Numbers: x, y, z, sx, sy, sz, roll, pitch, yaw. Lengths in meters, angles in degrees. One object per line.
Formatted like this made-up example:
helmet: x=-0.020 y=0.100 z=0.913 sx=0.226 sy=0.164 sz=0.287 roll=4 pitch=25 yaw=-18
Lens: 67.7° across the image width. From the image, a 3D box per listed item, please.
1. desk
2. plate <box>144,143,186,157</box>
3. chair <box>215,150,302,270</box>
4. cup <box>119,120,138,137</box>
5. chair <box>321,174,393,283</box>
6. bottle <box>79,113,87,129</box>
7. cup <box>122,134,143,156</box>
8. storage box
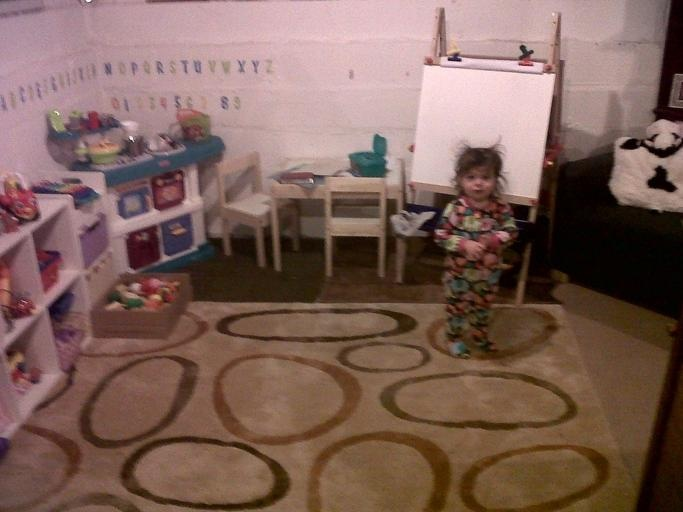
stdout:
desk: x=0.050 y=-0.356 z=3.447 sx=1.160 sy=0.767 sz=0.779 roll=0 pitch=36 yaw=2
plate: x=-1.085 y=-0.652 z=3.178 sx=0.226 sy=0.052 sz=0.114 roll=-13 pitch=25 yaw=-30
chair: x=-0.563 y=-0.326 z=3.423 sx=0.486 sy=0.712 sz=0.525 roll=21 pitch=39 yaw=26
cup: x=-1.296 y=-0.772 z=3.099 sx=0.120 sy=0.070 sz=0.104 roll=2 pitch=14 yaw=1
chair: x=0.094 y=-0.230 z=3.313 sx=0.408 sy=0.633 sz=0.498 roll=2 pitch=24 yaw=4
bottle: x=-1.512 y=-0.781 z=2.977 sx=0.037 sy=0.074 sz=0.100 roll=-6 pitch=24 yaw=-13
cup: x=-1.257 y=-0.664 z=3.062 sx=0.139 sy=0.121 sz=0.126 roll=11 pitch=21 yaw=29
storage box: x=-1.121 y=0.250 z=2.887 sx=0.439 sy=0.142 sz=0.499 roll=6 pitch=28 yaw=-5
